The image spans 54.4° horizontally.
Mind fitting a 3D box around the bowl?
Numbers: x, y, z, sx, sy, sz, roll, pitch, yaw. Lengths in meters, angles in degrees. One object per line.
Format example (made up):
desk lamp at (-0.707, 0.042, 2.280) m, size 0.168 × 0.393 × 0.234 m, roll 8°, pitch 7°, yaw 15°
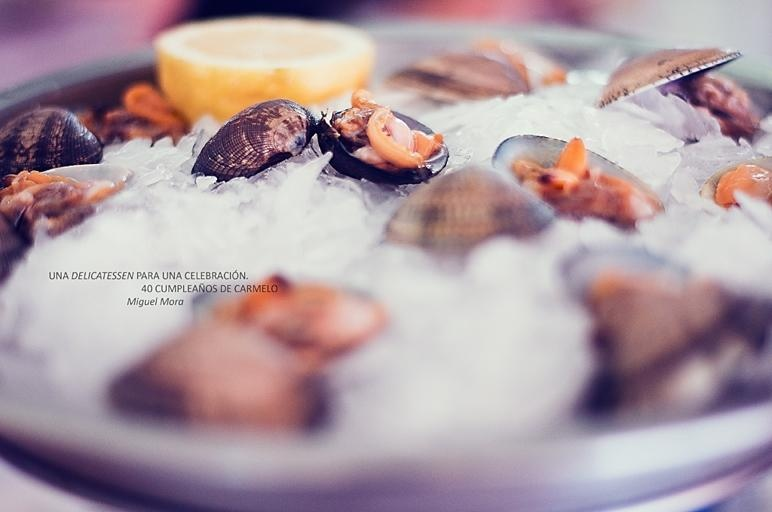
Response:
bowl at (-0.214, -0.323, 1.249) m, size 0.353 × 0.197 × 0.349 m, roll 5°, pitch 22°, yaw -2°
